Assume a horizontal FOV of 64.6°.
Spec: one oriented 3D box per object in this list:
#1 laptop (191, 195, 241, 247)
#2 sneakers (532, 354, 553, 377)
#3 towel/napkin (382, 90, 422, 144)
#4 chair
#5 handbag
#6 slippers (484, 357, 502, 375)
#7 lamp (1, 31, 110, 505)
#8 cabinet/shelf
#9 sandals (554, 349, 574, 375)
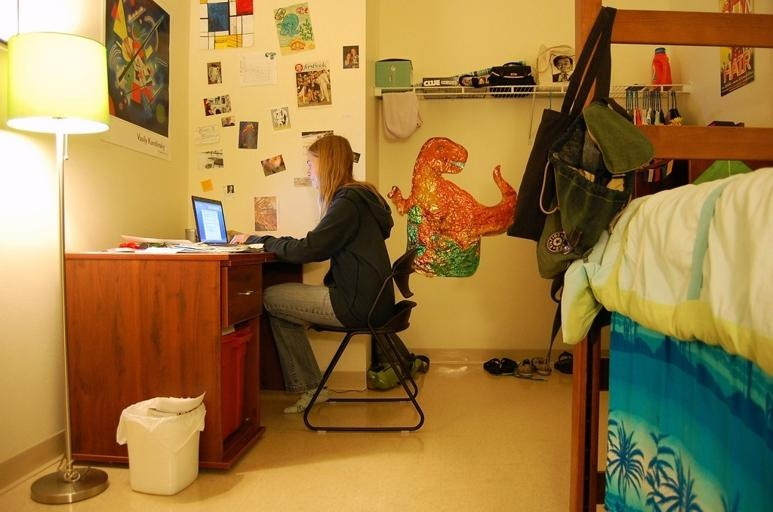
[{"bbox_3d":[-0.894,-0.173,3.480,0.312,0.279,0.426,5,2,5],"label":"laptop"},{"bbox_3d":[1.106,0.795,4.343,0.128,0.073,0.180,1,6,7],"label":"sneakers"},{"bbox_3d":[0.103,-1.026,4.456,0.273,0.335,0.098,-2,6,-1],"label":"towel/napkin"},{"bbox_3d":[-0.137,0.421,3.649,0.709,1.015,0.936,0,10,0],"label":"chair"},{"bbox_3d":[0.797,-0.289,2.525,0.542,1.437,0.361,5,11,25],"label":"handbag"},{"bbox_3d":[0.754,0.780,4.337,0.120,0.094,0.195,0,11,-1],"label":"slippers"},{"bbox_3d":[-1.499,0.029,2.860,0.418,2.048,0.677,-2,10,-12],"label":"lamp"},{"bbox_3d":[-1.055,0.369,3.446,0.892,1.116,1.180,0,5,4],"label":"cabinet/shelf"},{"bbox_3d":[1.261,0.752,4.348,0.122,0.141,0.216,2,6,15],"label":"sandals"}]
